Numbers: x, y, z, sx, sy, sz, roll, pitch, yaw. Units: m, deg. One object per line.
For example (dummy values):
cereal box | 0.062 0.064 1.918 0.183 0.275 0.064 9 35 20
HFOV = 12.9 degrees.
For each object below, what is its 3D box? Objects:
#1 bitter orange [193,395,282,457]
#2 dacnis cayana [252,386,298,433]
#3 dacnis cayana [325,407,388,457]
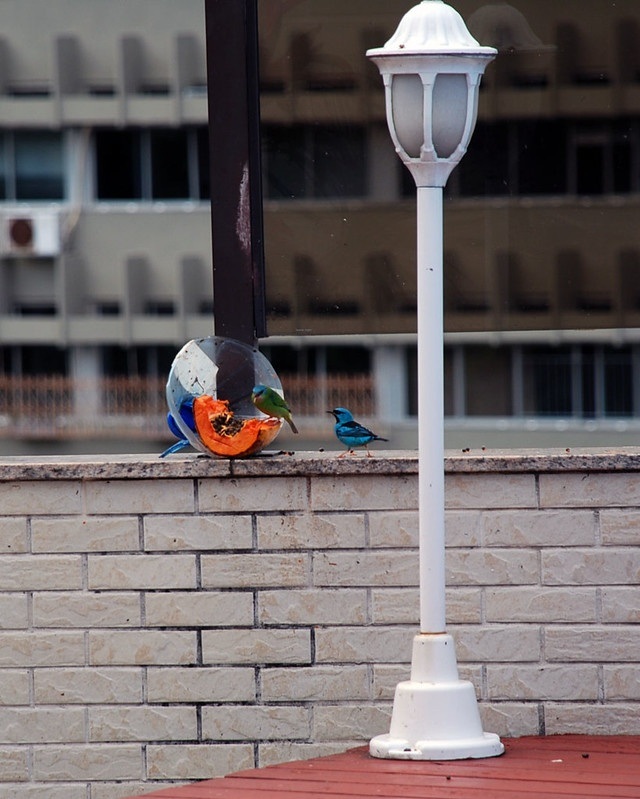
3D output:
bitter orange | -0.306 0.043 10.620 0.220 0.290 0.250 2 4 42
dacnis cayana | -0.162 0.020 10.696 0.161 0.169 0.290 -6 -7 41
dacnis cayana | 0.137 0.101 10.615 0.129 0.217 0.228 2 4 32
